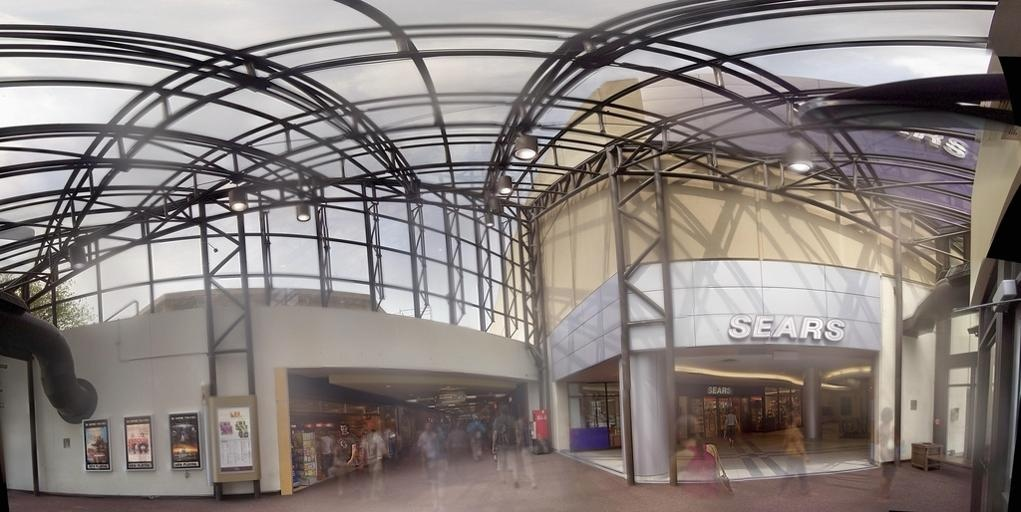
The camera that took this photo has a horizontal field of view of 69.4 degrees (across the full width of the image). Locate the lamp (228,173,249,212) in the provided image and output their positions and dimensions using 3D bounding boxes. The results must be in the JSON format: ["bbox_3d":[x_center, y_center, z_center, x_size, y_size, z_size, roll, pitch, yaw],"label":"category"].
[{"bbox_3d":[-12.037,-2.828,32.555,0.673,1.791,1.935,-1,-3,-22],"label":"lamp"}]

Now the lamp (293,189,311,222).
[{"bbox_3d":[-9.642,-2.353,33.942,0.589,1.320,0.716,-2,-3,-8],"label":"lamp"}]

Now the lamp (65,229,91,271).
[{"bbox_3d":[-18.957,-0.178,32.161,1.043,1.732,1.046,-31,-30,19],"label":"lamp"}]

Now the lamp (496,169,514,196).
[{"bbox_3d":[-0.255,-3.215,33.190,1.208,1.168,1.108,-1,-32,2],"label":"lamp"}]
